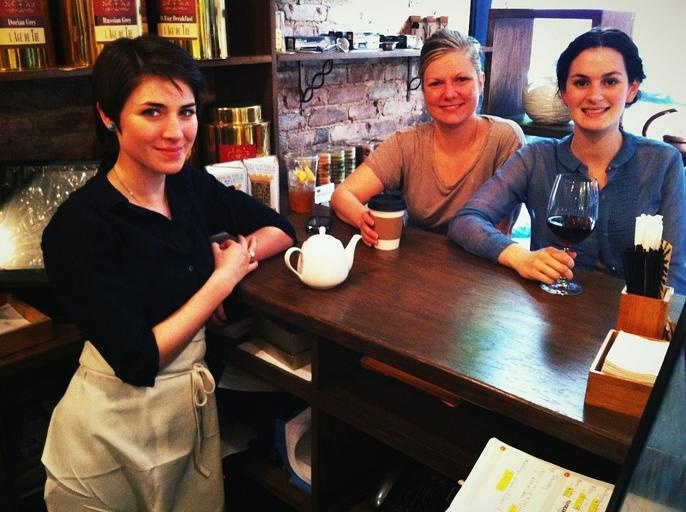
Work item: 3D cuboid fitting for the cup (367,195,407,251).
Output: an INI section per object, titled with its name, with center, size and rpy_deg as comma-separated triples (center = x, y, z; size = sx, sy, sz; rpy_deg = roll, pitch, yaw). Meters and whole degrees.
[cup]
center = 0.153, -0.128, 1.802
size = 0.172, 0.179, 0.169
rpy_deg = 0, 21, 0

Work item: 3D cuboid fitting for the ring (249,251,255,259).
[ring]
center = -0.284, -0.007, 1.620
size = 0.016, 0.020, 0.028
rpy_deg = -10, -11, -3

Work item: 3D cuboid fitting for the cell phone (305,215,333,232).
[cell phone]
center = -0.089, -0.120, 1.905
size = 0.068, 0.024, 0.089
rpy_deg = 2, 25, 0

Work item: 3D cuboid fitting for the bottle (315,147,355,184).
[bottle]
center = -0.036, -0.473, 2.641
size = 0.202, 0.212, 0.226
rpy_deg = 0, 17, -3
